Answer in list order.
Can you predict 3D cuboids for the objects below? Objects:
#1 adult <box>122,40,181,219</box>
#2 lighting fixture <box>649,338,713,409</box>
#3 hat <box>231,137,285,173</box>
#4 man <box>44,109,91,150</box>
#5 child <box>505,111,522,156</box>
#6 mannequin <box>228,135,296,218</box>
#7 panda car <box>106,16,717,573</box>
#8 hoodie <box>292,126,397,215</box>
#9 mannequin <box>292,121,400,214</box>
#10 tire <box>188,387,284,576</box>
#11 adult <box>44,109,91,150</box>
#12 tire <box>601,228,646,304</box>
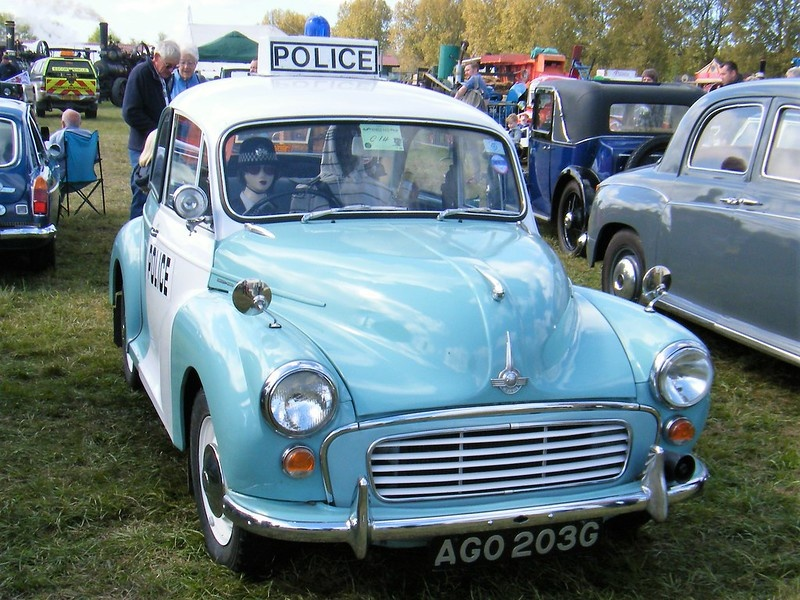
[{"bbox_3d":[-2.866,-1.851,7.728,0.583,2.005,0.567,4,-23,-23],"label":"adult"},{"bbox_3d":[1.389,0.345,3.426,0.286,0.363,0.317,-1,2,-20],"label":"lighting fixture"},{"bbox_3d":[-0.833,-0.829,3.879,0.183,0.159,0.269,0,-1,-16],"label":"hat"},{"bbox_3d":[-4.989,-2.577,10.158,0.651,0.590,0.441,-4,8,-39],"label":"man"},{"bbox_3d":[2.052,-2.832,12.201,0.243,1.028,0.330,-2,19,-9],"label":"child"},{"bbox_3d":[-0.830,-0.720,3.902,0.405,0.486,0.246,-5,15,-25],"label":"mannequin"},{"bbox_3d":[-0.374,-0.337,4.407,1.990,1.982,3.883,-2,14,-21],"label":"panda car"},{"bbox_3d":[-0.313,-0.726,4.006,0.492,0.607,0.220,2,-6,-7],"label":"hoodie"},{"bbox_3d":[-0.343,-0.703,4.180,0.490,0.604,0.200,3,-7,-7],"label":"mannequin"},{"bbox_3d":[-0.852,0.903,3.348,0.256,0.906,0.628,-10,16,-29],"label":"tire"},{"bbox_3d":[-4.979,-2.576,10.195,0.709,0.646,0.529,-2,6,-24],"label":"adult"},{"bbox_3d":[2.154,-0.329,6.385,0.200,0.690,0.614,2,7,-18],"label":"tire"}]
